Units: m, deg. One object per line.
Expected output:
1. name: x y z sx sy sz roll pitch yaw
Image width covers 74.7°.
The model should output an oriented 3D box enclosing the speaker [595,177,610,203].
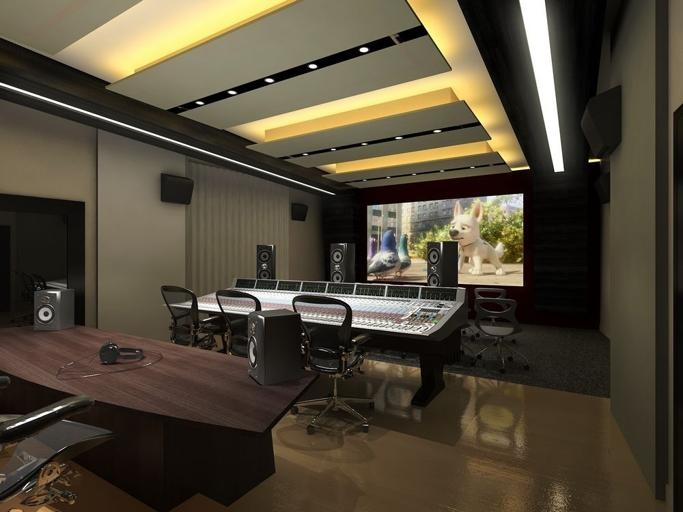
1. speaker: 3.832 -1.002 6.576 0.180 0.431 1.079 5 12 29

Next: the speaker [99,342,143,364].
1. speaker: -1.516 0.676 3.067 0.176 0.104 0.189 -3 -5 39

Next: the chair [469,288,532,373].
1. chair: 2.252 1.056 6.275 0.819 1.090 0.766 2 5 34

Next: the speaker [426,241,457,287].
1. speaker: 1.446 0.120 6.419 0.405 0.683 0.426 2 5 37

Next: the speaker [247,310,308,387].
1. speaker: -0.437 0.560 2.837 0.290 0.405 0.223 -2 4 -42

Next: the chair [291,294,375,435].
1. chair: -0.055 0.949 4.279 0.810 1.245 0.775 4 8 34

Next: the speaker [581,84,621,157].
1. speaker: 2.385 -1.230 4.105 0.288 0.607 0.563 4 11 26

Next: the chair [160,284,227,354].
1. chair: -1.644 0.770 5.127 0.601 0.975 0.632 5 11 28

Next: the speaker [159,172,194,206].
1. speaker: -2.348 -0.947 6.402 0.466 0.363 0.117 9 -1 7

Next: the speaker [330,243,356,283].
1. speaker: 0.011 0.097 6.885 0.342 0.577 0.385 -1 10 -3

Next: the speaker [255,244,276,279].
1. speaker: -1.125 0.086 6.622 0.258 0.487 0.306 -3 10 -12

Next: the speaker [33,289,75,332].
1. speaker: -2.498 0.463 3.901 0.235 0.335 0.301 0 -1 13
